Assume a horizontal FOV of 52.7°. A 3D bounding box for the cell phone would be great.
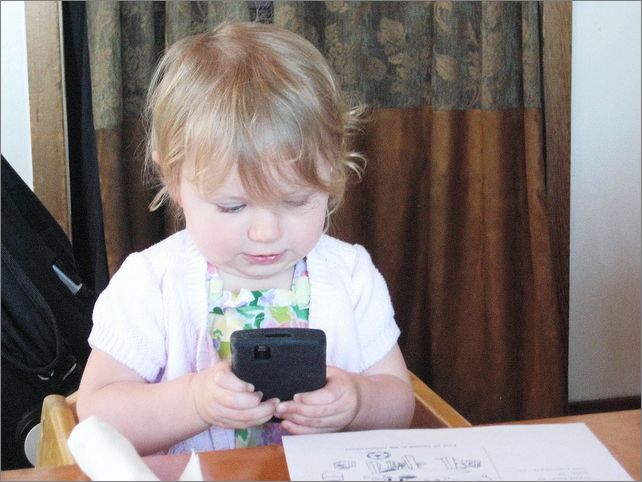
[{"bbox_3d":[-0.073,0.211,1.034,0.133,0.141,0.053,-1,32,-1],"label":"cell phone"}]
